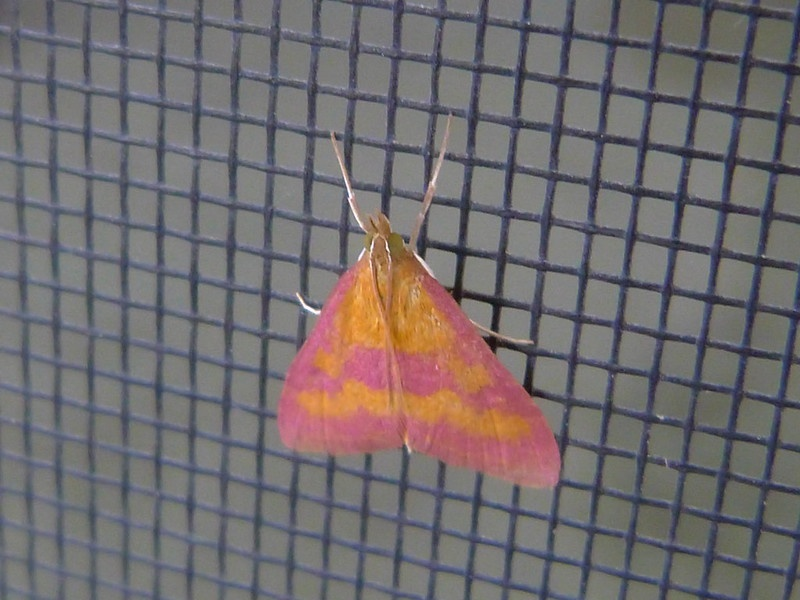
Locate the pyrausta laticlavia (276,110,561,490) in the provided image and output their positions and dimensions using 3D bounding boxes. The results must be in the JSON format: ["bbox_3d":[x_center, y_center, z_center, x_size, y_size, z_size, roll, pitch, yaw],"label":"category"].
[{"bbox_3d":[0.021,-0.007,2.934,0.566,0.152,0.679,0,-88,22],"label":"pyrausta laticlavia"}]
